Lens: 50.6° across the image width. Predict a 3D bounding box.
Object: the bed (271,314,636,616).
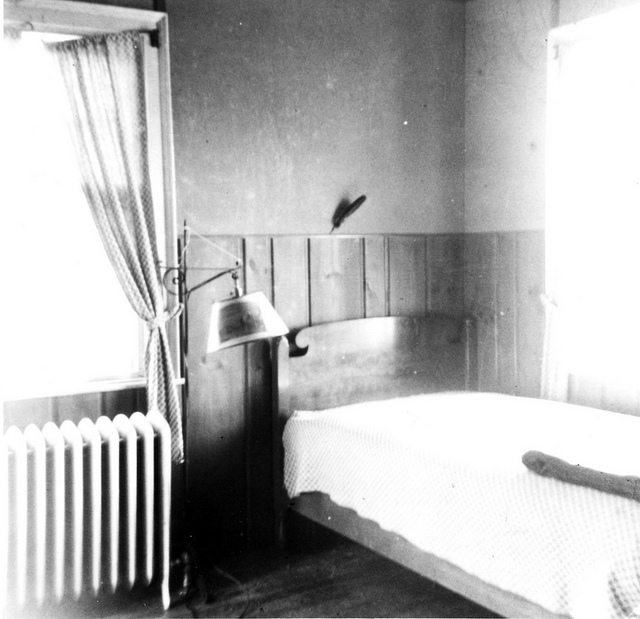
[{"bbox_3d":[0.292,0.253,1.573,0.518,0.529,0.715,-4,3,-36],"label":"bed"}]
